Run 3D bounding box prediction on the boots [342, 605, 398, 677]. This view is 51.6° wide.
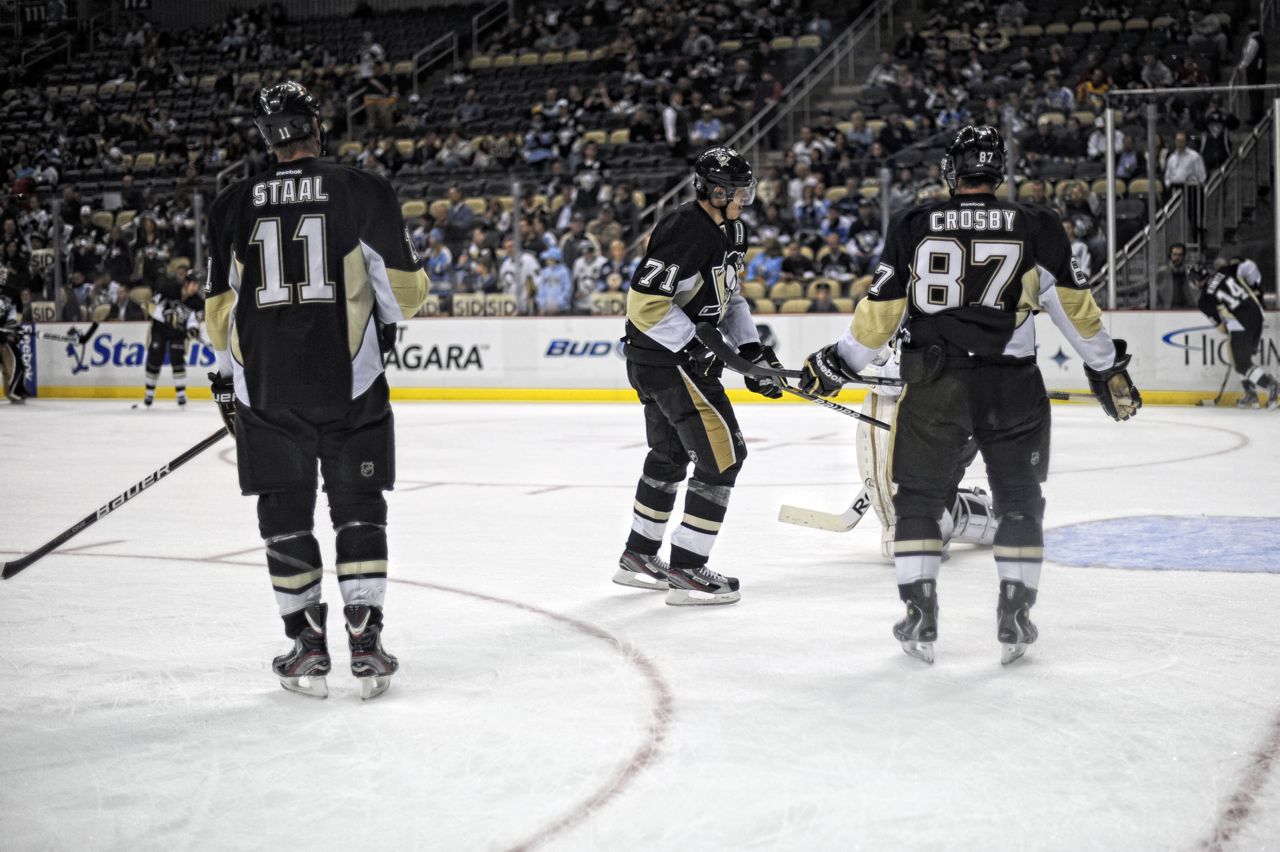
[{"bbox_3d":[-1.056,0.847,5.195,0.165,0.291,0.321,-7,-9,5],"label":"boots"}]

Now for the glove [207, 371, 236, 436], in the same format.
[{"bbox_3d":[-1.698,-0.098,5.434,0.106,0.251,0.200,-12,18,-18],"label":"glove"}]

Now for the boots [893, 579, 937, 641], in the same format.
[{"bbox_3d":[1.158,0.761,5.448,0.175,0.255,0.281,0,-5,1],"label":"boots"}]

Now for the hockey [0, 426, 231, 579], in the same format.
[{"bbox_3d":[-3.471,0.514,8.791,1.374,0.177,0.202,-27,-5,7],"label":"hockey"}]

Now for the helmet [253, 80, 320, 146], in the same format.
[{"bbox_3d":[-1.330,-1.248,5.252,0.251,0.272,0.283,-7,16,6],"label":"helmet"}]

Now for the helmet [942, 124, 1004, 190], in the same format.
[{"bbox_3d":[1.353,-1.086,5.339,0.229,0.258,0.180,1,10,11],"label":"helmet"}]

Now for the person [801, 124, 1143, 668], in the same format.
[{"bbox_3d":[1.327,-0.136,5.394,1.271,2.143,0.550,0,10,8],"label":"person"}]

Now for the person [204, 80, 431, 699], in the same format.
[{"bbox_3d":[-1.239,0.003,5.144,0.873,2.041,0.514,-2,10,-2],"label":"person"}]

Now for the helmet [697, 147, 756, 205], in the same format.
[{"bbox_3d":[0.449,-1.195,6.300,0.316,0.238,0.232,-8,18,-2],"label":"helmet"}]

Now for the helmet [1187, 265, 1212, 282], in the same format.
[{"bbox_3d":[5.722,-1.569,13.525,0.172,0.154,0.204,5,14,-37],"label":"helmet"}]

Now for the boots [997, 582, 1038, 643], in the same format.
[{"bbox_3d":[1.553,0.745,5.445,0.140,0.263,0.363,7,5,25],"label":"boots"}]

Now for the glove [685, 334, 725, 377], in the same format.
[{"bbox_3d":[0.322,-0.324,6.259,0.089,0.150,0.207,-35,-10,-2],"label":"glove"}]
